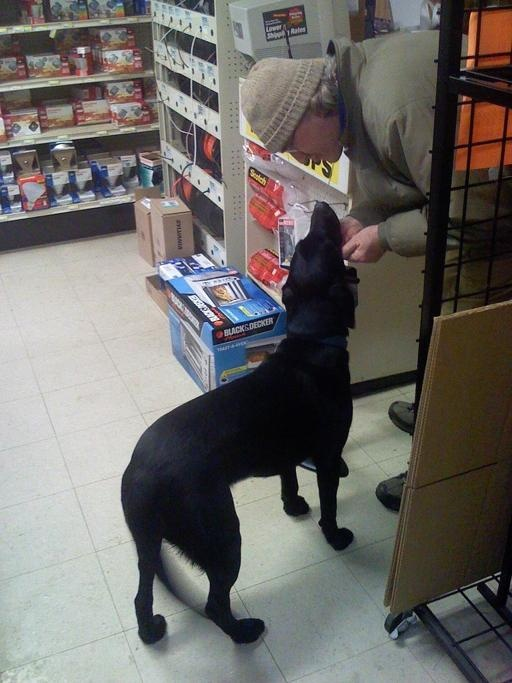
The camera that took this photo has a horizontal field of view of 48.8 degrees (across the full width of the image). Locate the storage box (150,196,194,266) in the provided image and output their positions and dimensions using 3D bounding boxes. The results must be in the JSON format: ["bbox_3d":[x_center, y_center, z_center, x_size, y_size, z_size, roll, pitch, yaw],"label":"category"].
[{"bbox_3d":[-0.533,-0.673,3.601,0.208,0.330,0.351,-13,23,-24],"label":"storage box"}]
